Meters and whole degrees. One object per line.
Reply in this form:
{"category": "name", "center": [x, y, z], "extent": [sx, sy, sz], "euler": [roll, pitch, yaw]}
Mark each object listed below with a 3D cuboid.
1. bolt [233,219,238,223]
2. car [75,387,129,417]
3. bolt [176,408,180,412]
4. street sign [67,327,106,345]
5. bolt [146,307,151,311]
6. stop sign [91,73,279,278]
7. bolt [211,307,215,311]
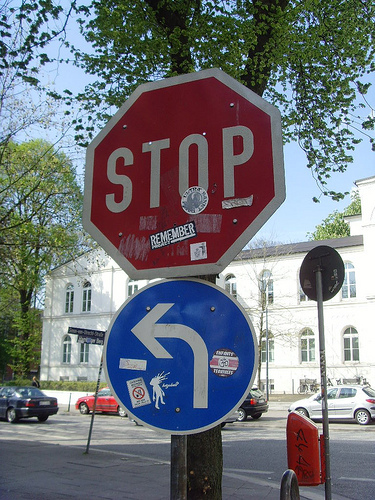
{"category": "bolt", "center": [0.172, -0.105, 1.906], "extent": [0.014, 0.014, 0.003], "euler": [-1, -10, 4]}
{"category": "car", "center": [-4.290, 7.161, 24.988], "extent": [2.041, 1.585, 6.987], "euler": [2, -11, -10]}
{"category": "bolt", "center": [-0.034, 0.531, 1.740], "extent": [0.011, 0.011, 0.004], "euler": [0, -10, -1]}
{"category": "street sign", "center": [-2.366, 1.990, 12.164], "extent": [0.793, 0.406, 2.048], "euler": [2, -11, -12]}
{"category": "bolt", "center": [-0.144, 0.212, 1.891], "extent": [0.014, 0.013, 0.004], "euler": [17, 1, -10]}
{"category": "stop sign", "center": [-0.040, -0.307, 2.070], "extent": [0.870, 0.854, 0.036], "euler": [-5, -15, 24]}
{"category": "bolt", "center": [0.084, 0.202, 1.805], "extent": [0.013, 0.012, 0.003], "euler": [-13, 8, -18]}
